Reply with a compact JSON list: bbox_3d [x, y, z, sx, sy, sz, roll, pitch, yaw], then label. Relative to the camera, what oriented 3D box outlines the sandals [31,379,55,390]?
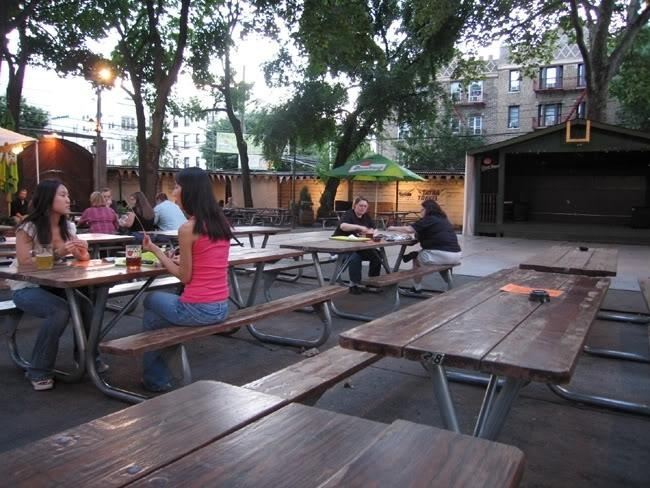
[{"bbox_3d":[-2.279,1.142,3.468,0.145,0.051,0.113,-5,4,-29],"label":"sandals"}]

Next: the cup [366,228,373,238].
[{"bbox_3d":[0.783,-0.181,7.389,0.143,0.126,0.143,2,5,0],"label":"cup"}]

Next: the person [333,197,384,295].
[{"bbox_3d":[0.589,-0.032,7.628,0.781,1.590,1.244,-3,4,4],"label":"person"}]

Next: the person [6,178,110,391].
[{"bbox_3d":[-2.357,0.296,3.727,0.649,1.734,0.721,-6,5,-28],"label":"person"}]

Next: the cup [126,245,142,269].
[{"bbox_3d":[-1.617,0.101,3.629,0.128,0.182,0.281,-5,4,-24],"label":"cup"}]

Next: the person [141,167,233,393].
[{"bbox_3d":[-1.085,0.048,3.397,0.687,1.276,0.362,-5,4,-16],"label":"person"}]

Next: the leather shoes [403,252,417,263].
[{"bbox_3d":[1.490,0.228,7.488,0.178,0.103,0.212,3,-19,-25],"label":"leather shoes"}]
